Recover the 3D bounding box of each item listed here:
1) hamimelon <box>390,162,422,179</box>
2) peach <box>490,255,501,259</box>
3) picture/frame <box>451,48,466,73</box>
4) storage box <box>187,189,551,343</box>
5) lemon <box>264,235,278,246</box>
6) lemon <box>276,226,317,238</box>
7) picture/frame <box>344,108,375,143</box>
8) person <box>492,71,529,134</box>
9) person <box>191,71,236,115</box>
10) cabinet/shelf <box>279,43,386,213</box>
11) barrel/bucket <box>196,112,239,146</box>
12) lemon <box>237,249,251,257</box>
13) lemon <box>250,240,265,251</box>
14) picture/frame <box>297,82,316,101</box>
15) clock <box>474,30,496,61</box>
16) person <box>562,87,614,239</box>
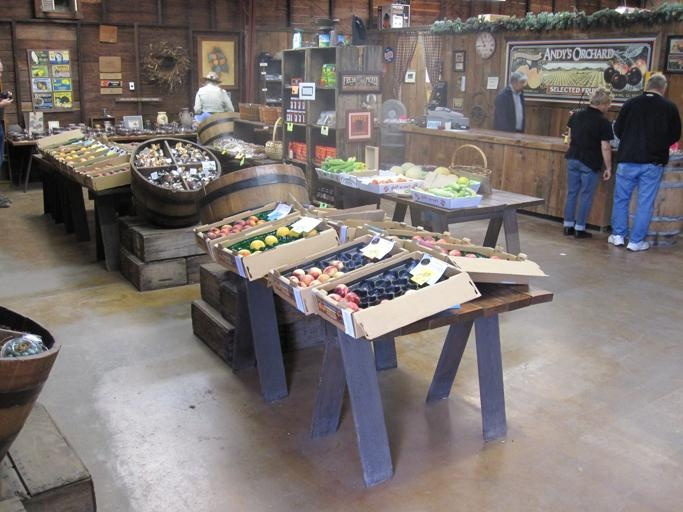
[{"bbox_3d":[0.731,-0.922,5.276,0.266,0.137,0.263,-2,12,-6],"label":"hamimelon"},{"bbox_3d":[0.881,0.008,2.789,0.030,0.019,0.034,-2,7,-11],"label":"peach"},{"bbox_3d":[2.484,-4.107,10.254,0.053,0.441,0.337,-12,22,-31],"label":"picture/frame"},{"bbox_3d":[0.099,0.074,3.228,1.091,0.924,1.586,-11,21,-32],"label":"storage box"},{"bbox_3d":[-0.437,-0.095,3.033,0.067,0.067,0.065,-1,5,6],"label":"lemon"},{"bbox_3d":[-0.295,-0.151,3.097,0.222,0.086,0.092,-5,6,-1],"label":"lemon"},{"bbox_3d":[0.215,-1.709,6.323,0.448,0.426,0.032,-5,12,-32],"label":"picture/frame"},{"bbox_3d":[2.964,-2.633,8.398,0.578,1.002,0.422,0,19,1],"label":"person"},{"bbox_3d":[-2.419,-2.933,9.294,0.711,1.019,0.633,2,13,16],"label":"person"},{"bbox_3d":[0.030,-1.592,6.886,0.905,2.434,1.528,-11,22,-36],"label":"cabinet/shelf"},{"bbox_3d":[-2.103,-2.156,8.474,0.591,0.599,0.597,-10,2,0],"label":"barrel/bucket"},{"bbox_3d":[-0.575,-0.018,2.897,0.058,0.045,0.043,5,53,-29],"label":"lemon"},{"bbox_3d":[-0.512,-0.064,2.975,0.066,0.065,0.063,2,9,19],"label":"lemon"},{"bbox_3d":[-0.467,-2.235,6.595,0.300,0.295,0.157,7,12,29],"label":"picture/frame"},{"bbox_3d":[2.867,-4.191,9.691,0.069,0.500,0.486,-11,22,-29],"label":"clock"},{"bbox_3d":[3.276,-1.212,6.559,0.633,1.943,0.545,20,23,36],"label":"person"}]
